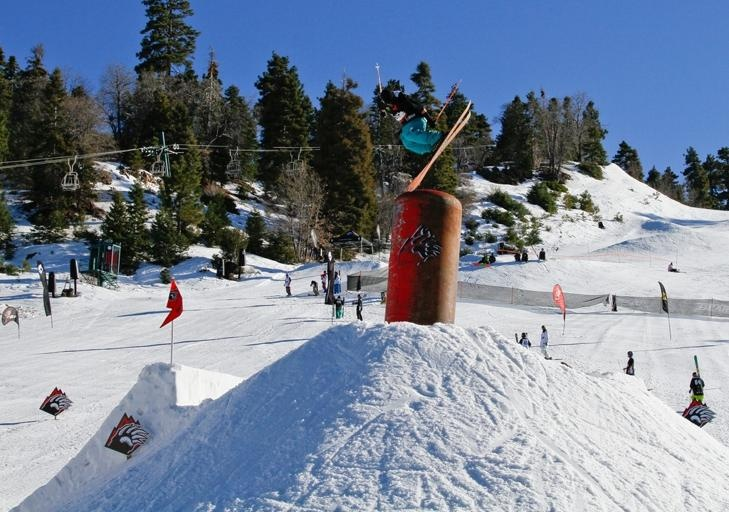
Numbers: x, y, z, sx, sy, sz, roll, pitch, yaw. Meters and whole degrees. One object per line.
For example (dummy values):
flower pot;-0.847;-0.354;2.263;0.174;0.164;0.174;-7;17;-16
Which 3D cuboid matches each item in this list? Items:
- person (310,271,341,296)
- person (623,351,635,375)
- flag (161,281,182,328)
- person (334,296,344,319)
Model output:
person;-2.428;1.782;52.267;1.399;2.022;0.674;-5;-26;10
person;13.009;5.101;40.859;0.503;1.170;2.880;1;4;18
flag;-7.921;1.935;34.495;0.834;2.167;0.235;-3;28;-25
person;-1.437;2.936;46.826;0.414;1.238;1.101;0;3;-8
